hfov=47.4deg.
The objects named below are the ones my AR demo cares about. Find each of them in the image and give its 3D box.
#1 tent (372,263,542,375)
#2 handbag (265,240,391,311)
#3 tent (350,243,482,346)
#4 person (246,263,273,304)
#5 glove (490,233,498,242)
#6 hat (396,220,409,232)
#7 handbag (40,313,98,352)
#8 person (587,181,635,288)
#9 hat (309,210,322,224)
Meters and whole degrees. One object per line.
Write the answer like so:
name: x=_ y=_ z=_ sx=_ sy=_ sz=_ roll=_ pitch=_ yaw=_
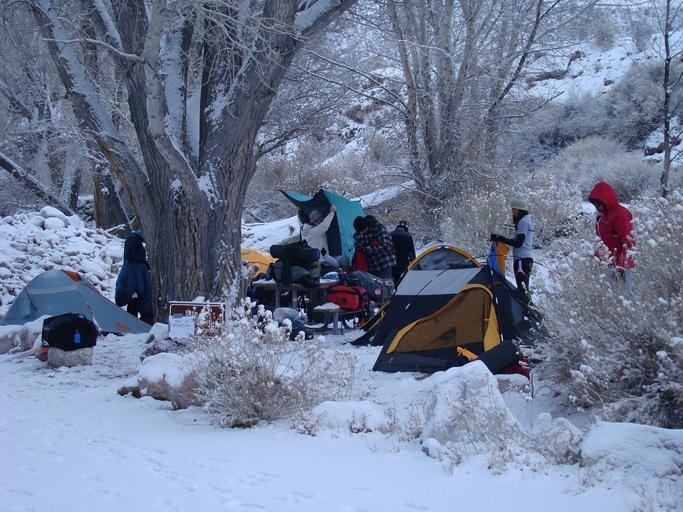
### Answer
tent: x=1.490 y=0.894 z=10.307 sx=1.518 sy=0.791 sz=1.580 roll=-9 pitch=-1 yaw=20
handbag: x=-0.399 y=0.214 z=12.322 sx=1.421 sy=0.565 sz=1.021 roll=7 pitch=5 yaw=6
tent: x=1.088 y=0.498 z=10.821 sx=1.492 sy=0.723 sz=1.305 roll=-28 pitch=4 yaw=-14
person: x=-1.392 y=0.556 z=12.911 sx=0.500 sy=0.259 sz=0.876 roll=-3 pitch=7 yaw=-7
glove: x=2.231 y=-0.261 z=11.320 sx=0.105 sy=0.106 sz=0.259 roll=0 pitch=1 yaw=7
hat: x=1.108 y=-0.549 z=14.212 sx=0.196 sy=0.125 sz=0.277 roll=0 pitch=-2 yaw=30
handbag: x=-3.643 y=1.007 z=10.406 sx=0.695 sy=0.462 sz=0.414 roll=-1 pitch=2 yaw=-24
person: x=3.317 y=-0.311 z=9.576 sx=0.541 sy=1.236 sz=1.292 roll=1 pitch=2 yaw=18
hat: x=-0.490 y=-0.732 z=14.624 sx=0.224 sy=0.253 sz=0.279 roll=0 pitch=2 yaw=-6
